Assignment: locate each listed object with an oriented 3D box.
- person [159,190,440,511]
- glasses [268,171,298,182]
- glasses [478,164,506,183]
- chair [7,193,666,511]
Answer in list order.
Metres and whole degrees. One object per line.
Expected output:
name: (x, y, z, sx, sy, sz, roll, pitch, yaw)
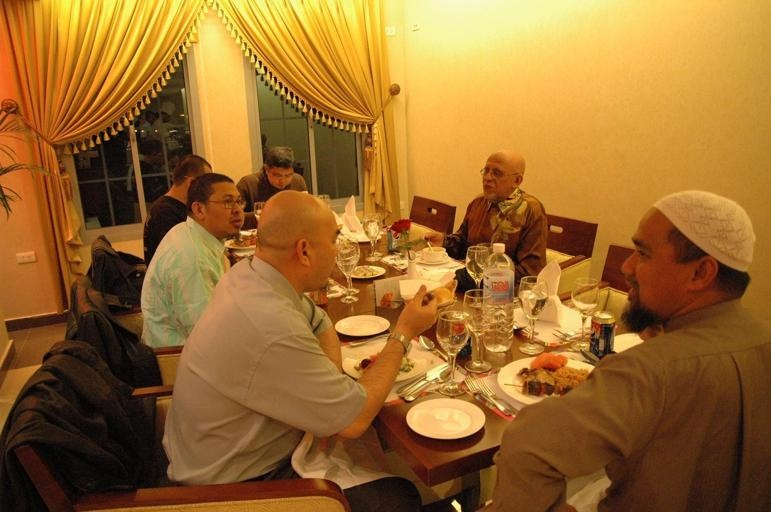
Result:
person: (-0.321, 0.135, 2.589, 1.313, 1.803, 0.814, -6, 24, -24)
glasses: (-0.921, -0.710, 4.824, 0.145, 0.080, 0.181, -6, 7, -25)
glasses: (0.690, -0.549, 3.568, 0.100, 0.105, 0.214, -8, 17, -21)
chair: (0.050, 0.199, 2.616, 1.482, 1.365, 1.038, -9, 15, -22)
